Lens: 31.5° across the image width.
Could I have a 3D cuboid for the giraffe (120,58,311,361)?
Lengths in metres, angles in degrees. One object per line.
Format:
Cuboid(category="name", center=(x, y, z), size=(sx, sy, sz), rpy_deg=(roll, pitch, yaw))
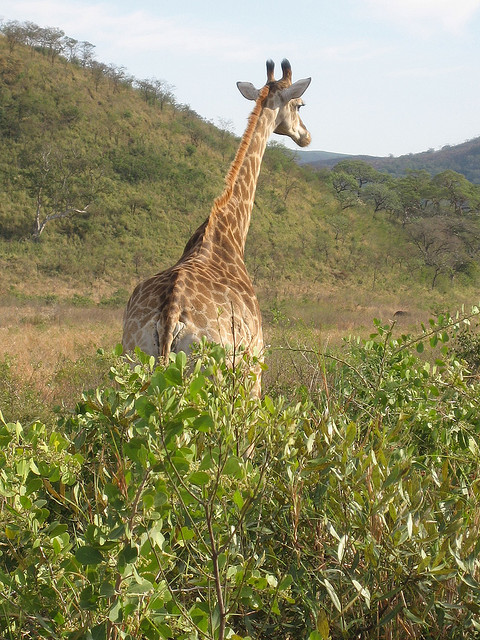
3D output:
Cuboid(category="giraffe", center=(-0.090, -0.765, 4.945), size=(0.797, 1.659, 3.096), rpy_deg=(8, 9, 3))
